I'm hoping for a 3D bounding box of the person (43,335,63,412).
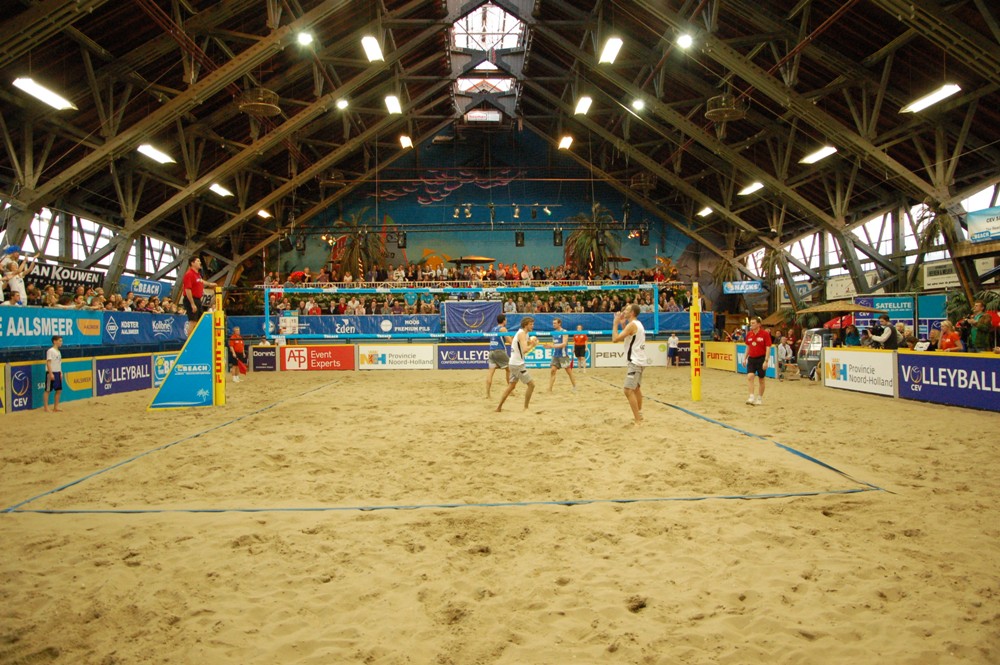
[{"bbox_3d":[-12.345,1.067,22.221,0.404,2.021,1.164,2,-2,-29],"label":"person"}]

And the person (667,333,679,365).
[{"bbox_3d":[7.189,0.710,33.384,0.377,1.244,0.904,-1,-2,28],"label":"person"}]

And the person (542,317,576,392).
[{"bbox_3d":[1.821,0.674,24.660,0.828,2.122,0.923,-2,6,3],"label":"person"}]
